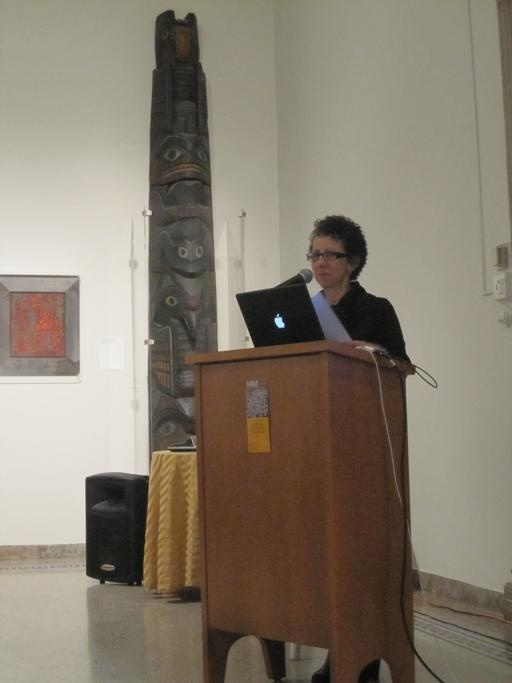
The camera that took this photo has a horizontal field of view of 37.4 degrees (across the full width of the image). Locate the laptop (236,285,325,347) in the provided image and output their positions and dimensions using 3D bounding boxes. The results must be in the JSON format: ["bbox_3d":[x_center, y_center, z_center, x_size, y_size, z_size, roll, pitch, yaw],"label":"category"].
[{"bbox_3d":[0.075,-0.064,1.848,0.197,0.146,0.147,-16,6,41],"label":"laptop"}]

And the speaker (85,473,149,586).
[{"bbox_3d":[-0.678,0.903,3.622,0.348,0.510,0.244,-2,-3,8],"label":"speaker"}]

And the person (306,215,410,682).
[{"bbox_3d":[0.315,0.272,2.320,0.309,1.448,0.703,-2,-3,8],"label":"person"}]
